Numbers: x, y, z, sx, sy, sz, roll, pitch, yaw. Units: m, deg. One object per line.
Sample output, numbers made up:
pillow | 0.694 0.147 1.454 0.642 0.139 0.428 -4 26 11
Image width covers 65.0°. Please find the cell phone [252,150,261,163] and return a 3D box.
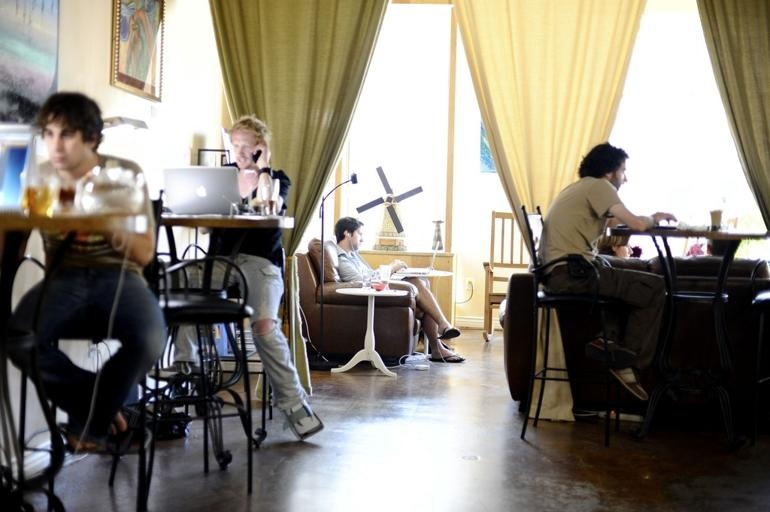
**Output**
cell phone | -0.781 -0.607 3.672 0.023 0.053 0.075 6 -41 -37

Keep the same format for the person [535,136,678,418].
person | 1.450 0.061 3.961 0.959 1.611 0.658 4 -8 -4

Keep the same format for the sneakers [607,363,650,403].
sneakers | 1.498 0.781 3.727 0.208 0.182 0.162 2 2 0

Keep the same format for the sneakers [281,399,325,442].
sneakers | -0.497 0.937 3.535 0.201 0.260 0.077 -34 7 -10

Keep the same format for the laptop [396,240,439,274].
laptop | 0.396 0.022 7.437 0.433 0.274 0.236 2 6 26

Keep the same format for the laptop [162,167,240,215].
laptop | -0.965 -0.343 3.194 0.384 0.232 0.267 0 1 7

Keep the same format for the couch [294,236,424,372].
couch | -0.235 0.446 6.058 1.122 1.163 1.168 0 -1 0

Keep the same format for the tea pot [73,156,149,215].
tea pot | -0.806 -0.199 1.793 0.174 0.166 0.174 0 2 0

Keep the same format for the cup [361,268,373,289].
cup | -0.157 0.202 5.522 0.086 0.166 0.152 2 2 1

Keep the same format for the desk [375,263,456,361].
desk | 0.401 0.503 5.989 0.464 1.036 0.636 -21 13 -7

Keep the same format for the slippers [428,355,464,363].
slippers | 0.591 1.008 5.875 0.294 0.075 0.119 -3 -6 14

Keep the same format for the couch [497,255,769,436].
couch | 1.670 0.494 4.229 1.602 1.125 1.140 0 6 13

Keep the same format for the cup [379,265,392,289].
cup | -0.033 0.205 5.659 0.169 0.265 0.168 -1 2 0
